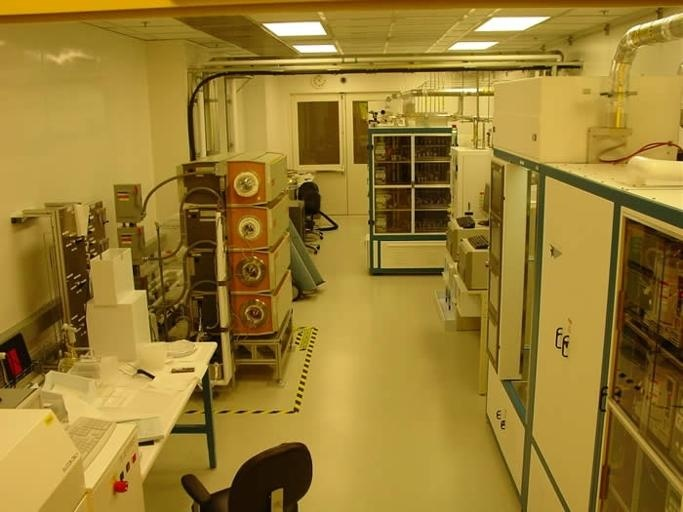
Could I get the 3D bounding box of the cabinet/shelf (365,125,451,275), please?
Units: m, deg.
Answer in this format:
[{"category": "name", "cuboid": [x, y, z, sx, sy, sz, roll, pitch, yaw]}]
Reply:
[{"category": "cabinet/shelf", "cuboid": [1.168, -0.952, 9.086, 1.394, 2.526, 0.727, 0, 13, 11]}]
